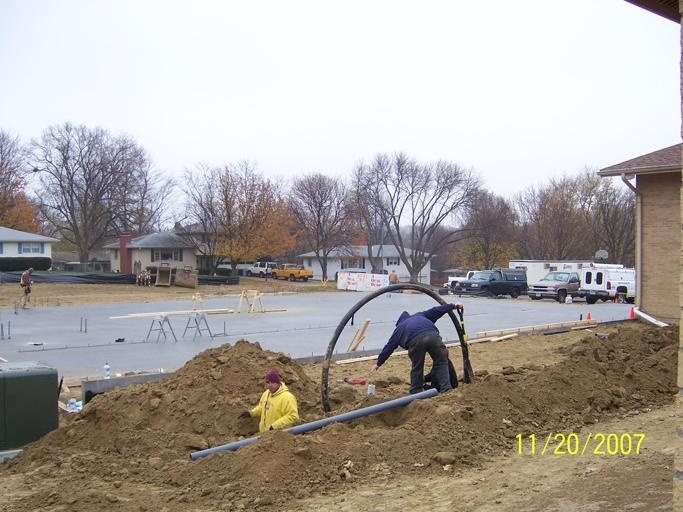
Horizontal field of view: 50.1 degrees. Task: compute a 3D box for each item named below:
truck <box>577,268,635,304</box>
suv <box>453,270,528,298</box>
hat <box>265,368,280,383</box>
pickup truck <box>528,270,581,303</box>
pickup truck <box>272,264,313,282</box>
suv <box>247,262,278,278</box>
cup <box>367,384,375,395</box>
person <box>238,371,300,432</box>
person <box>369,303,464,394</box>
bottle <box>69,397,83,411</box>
[{"bbox_3d":[12.809,1.379,34.901,2.328,1.405,1.349,-8,7,-34],"label":"truck"},{"bbox_3d":[8.091,1.430,38.647,2.904,1.247,1.719,2,-4,-26],"label":"suv"},{"bbox_3d":[-1.043,1.843,11.269,0.218,0.162,0.156,21,-4,-42],"label":"hat"},{"bbox_3d":[10.561,1.444,35.886,2.256,1.038,1.198,3,-4,-44],"label":"pickup truck"},{"bbox_3d":[-4.489,1.406,59.355,1.482,1.050,2.635,1,2,-44],"label":"pickup truck"},{"bbox_3d":[-6.629,1.062,60.748,1.178,1.140,2.078,-1,8,-45],"label":"suv"},{"bbox_3d":[0.555,2.424,13.280,0.142,0.185,0.154,-1,0,0],"label":"cup"},{"bbox_3d":[-1.076,2.244,11.331,0.930,0.962,0.489,-4,-3,36],"label":"person"},{"bbox_3d":[1.390,1.571,12.429,1.402,1.480,0.842,-2,-2,-4],"label":"person"},{"bbox_3d":[-5.009,2.781,13.755,0.204,0.384,0.213,-3,-9,0],"label":"bottle"}]
